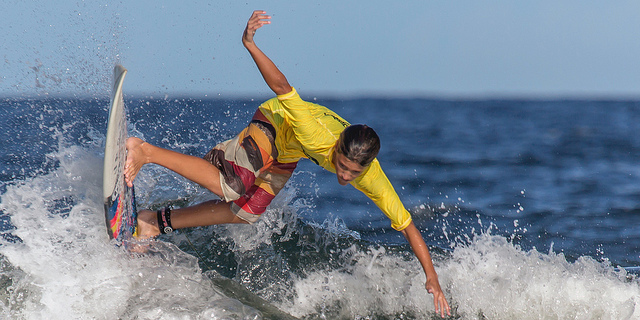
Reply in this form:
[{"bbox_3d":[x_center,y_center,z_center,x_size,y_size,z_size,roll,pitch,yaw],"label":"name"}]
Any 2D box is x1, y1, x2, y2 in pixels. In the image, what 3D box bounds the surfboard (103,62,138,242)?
[{"bbox_3d":[-5.494,0.104,19.063,1.341,1.469,5.351,0,92,-22],"label":"surfboard"}]
